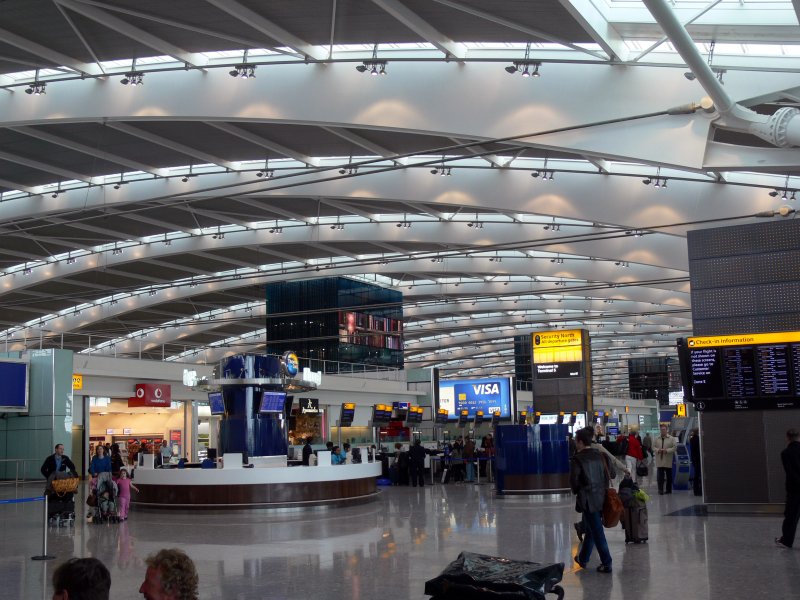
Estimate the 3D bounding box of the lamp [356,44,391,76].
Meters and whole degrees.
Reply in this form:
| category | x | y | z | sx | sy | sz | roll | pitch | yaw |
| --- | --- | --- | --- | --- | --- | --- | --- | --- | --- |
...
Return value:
| category | x | y | z | sx | sy | sz | roll | pitch | yaw |
| --- | --- | --- | --- | --- | --- | --- | --- | --- | --- |
| lamp | -0.540 | -4.940 | 14.603 | 0.772 | 0.626 | 0.397 | 1 | -8 | -4 |

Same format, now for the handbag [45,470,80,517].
| category | x | y | z | sx | sy | sz | roll | pitch | yaw |
| --- | --- | --- | --- | --- | --- | --- | --- | --- | --- |
| handbag | -7.614 | 4.506 | 16.198 | 0.528 | 1.127 | 1.356 | 1 | -7 | -22 |

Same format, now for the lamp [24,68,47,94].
| category | x | y | z | sx | sy | sz | roll | pitch | yaw |
| --- | --- | --- | --- | --- | --- | --- | --- | --- | --- |
| lamp | -7.982 | -4.786 | 15.749 | 0.404 | 0.656 | 0.950 | 2 | -8 | -27 |

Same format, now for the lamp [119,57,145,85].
| category | x | y | z | sx | sy | sz | roll | pitch | yaw |
| --- | --- | --- | --- | --- | --- | --- | --- | --- | --- |
| lamp | -5.804 | -4.960 | 15.568 | 0.455 | 0.618 | 0.793 | 0 | -7 | -17 |

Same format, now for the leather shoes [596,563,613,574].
| category | x | y | z | sx | sy | sz | roll | pitch | yaw |
| --- | --- | --- | --- | --- | --- | --- | --- | --- | --- |
| leather shoes | 2.697 | 3.566 | 9.449 | 0.089 | 0.084 | 0.222 | 1 | -3 | -7 |

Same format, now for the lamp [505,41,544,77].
| category | x | y | z | sx | sy | sz | roll | pitch | yaw |
| --- | --- | --- | --- | --- | --- | --- | --- | --- | --- |
| lamp | 2.388 | -4.620 | 13.861 | 0.654 | 0.635 | 0.415 | -3 | -7 | 10 |
